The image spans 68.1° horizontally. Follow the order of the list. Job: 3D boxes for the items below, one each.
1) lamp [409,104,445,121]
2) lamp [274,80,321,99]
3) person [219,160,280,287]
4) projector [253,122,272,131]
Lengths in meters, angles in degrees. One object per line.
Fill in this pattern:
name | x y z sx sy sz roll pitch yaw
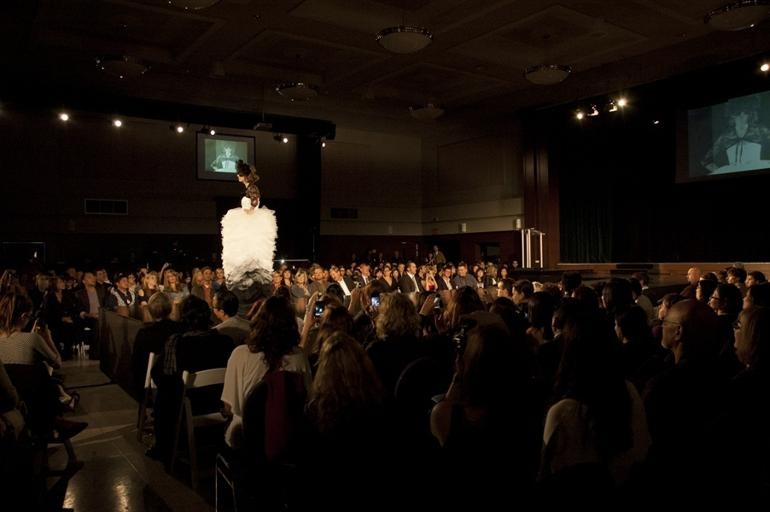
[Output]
lamp | 1.139 -3.586 14.158 0.624 0.150 0.645 -1 3 -19
lamp | -2.037 -3.878 13.447 0.817 0.369 1.658 -3 1 -2
person | -1.564 -0.235 6.942 0.739 1.739 0.696 -1 -20 -13
projector | -2.998 -3.218 14.193 0.280 0.068 0.296 -1 0 -40
